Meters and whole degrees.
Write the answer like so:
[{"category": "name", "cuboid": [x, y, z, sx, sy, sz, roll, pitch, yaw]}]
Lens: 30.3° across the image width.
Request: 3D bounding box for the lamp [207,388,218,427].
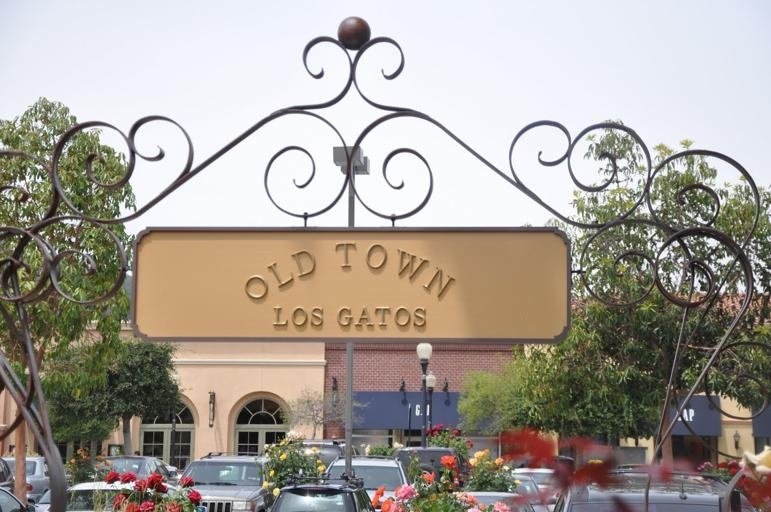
[{"category": "lamp", "cuboid": [-7.780, 6.818, 63.695, 0.342, 1.634, 0.562, -4, -12, 17]}]
